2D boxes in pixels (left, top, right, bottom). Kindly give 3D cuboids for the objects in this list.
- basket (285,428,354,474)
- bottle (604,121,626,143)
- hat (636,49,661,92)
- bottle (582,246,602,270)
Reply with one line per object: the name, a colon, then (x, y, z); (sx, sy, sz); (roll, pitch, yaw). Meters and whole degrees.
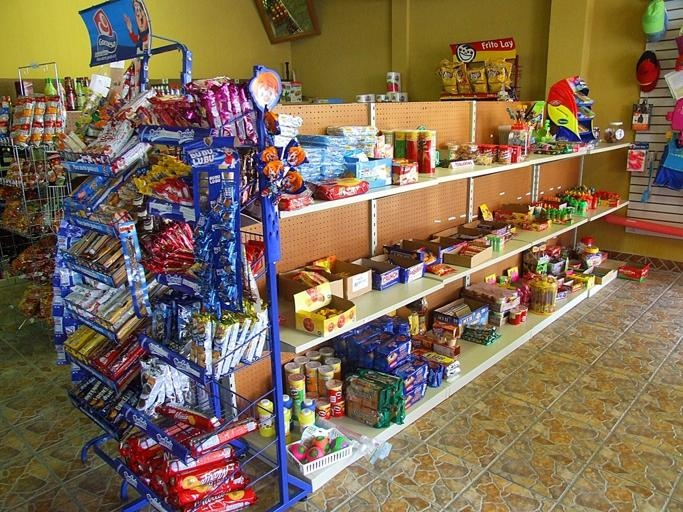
basket: (-0.125, 1.134, 3.000); (0.204, 0.078, 0.287); (19, 24, 38)
bottle: (3.046, -1.373, 5.693); (0.183, 0.274, 0.224); (-24, 25, -27)
hat: (3.280, -1.985, 5.475); (0.218, 0.423, 0.193); (11, 27, 33)
bottle: (2.789, 0.029, 5.729); (0.171, 0.102, 0.326); (16, 26, 41)
